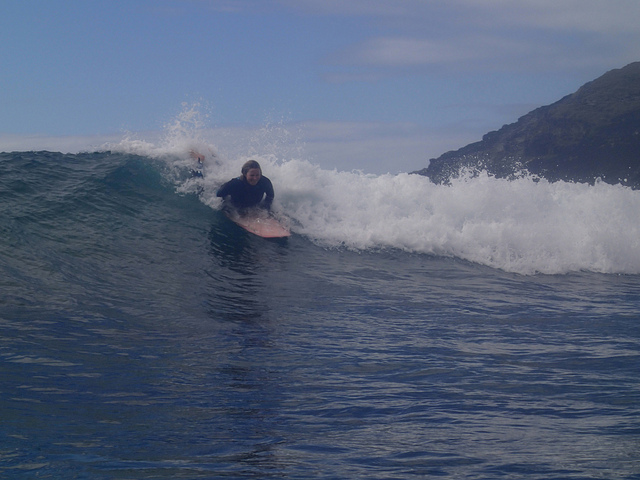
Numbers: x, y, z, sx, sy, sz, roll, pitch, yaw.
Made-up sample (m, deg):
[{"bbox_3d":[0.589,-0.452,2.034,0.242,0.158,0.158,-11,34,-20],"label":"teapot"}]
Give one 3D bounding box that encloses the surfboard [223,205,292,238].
[{"bbox_3d":[-1.689,-0.349,19.054,1.878,0.228,0.603,24,36,36],"label":"surfboard"}]
